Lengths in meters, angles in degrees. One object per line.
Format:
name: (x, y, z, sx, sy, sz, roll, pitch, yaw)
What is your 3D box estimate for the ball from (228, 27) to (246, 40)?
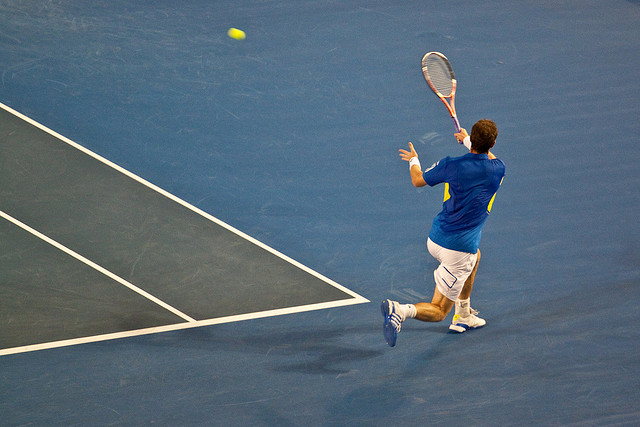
ball: (-1.436, -3.010, 14.227, 0.286, 0.083, 0.160, 21, 73, 4)

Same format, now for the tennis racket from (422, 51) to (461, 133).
tennis racket: (1.654, -1.756, 11.492, 0.112, 0.389, 1.365, -42, 55, 44)
